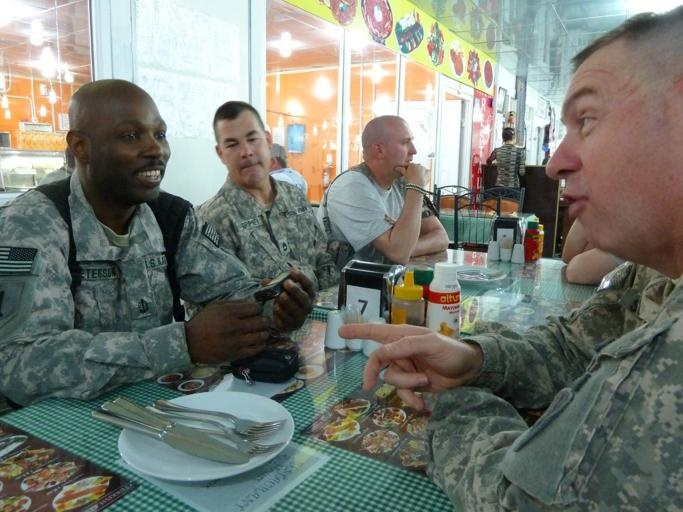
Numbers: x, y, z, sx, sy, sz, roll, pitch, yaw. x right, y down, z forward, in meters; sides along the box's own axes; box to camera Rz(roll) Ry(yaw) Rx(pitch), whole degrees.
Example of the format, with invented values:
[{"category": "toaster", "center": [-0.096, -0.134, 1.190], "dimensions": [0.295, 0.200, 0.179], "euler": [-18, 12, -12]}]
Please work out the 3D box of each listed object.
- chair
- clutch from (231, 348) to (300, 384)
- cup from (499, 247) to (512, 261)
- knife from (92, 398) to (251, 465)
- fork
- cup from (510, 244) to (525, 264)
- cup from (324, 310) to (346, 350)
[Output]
[{"category": "chair", "center": [1.211, -0.358, 4.331], "dimensions": [0.844, 0.584, 0.840], "euler": [6, 13, 28]}, {"category": "clutch", "center": [-0.173, 0.248, 1.131], "dimensions": [0.110, 0.036, 0.081], "euler": [1, 6, 16]}, {"category": "cup", "center": [0.867, -0.008, 2.570], "dimensions": [0.063, 0.063, 0.064], "euler": [1, 4, 0]}, {"category": "knife", "center": [-0.314, 0.316, 0.871], "dimensions": [0.185, 0.018, 0.043], "euler": [15, 18, 19]}, {"category": "fork", "center": [-0.270, 0.303, 0.921], "dimensions": [0.335, 0.042, 0.087], "euler": [6, 18, 20]}, {"category": "cup", "center": [0.918, -0.015, 2.536], "dimensions": [0.094, 0.113, 0.093], "euler": [-1, 9, 0]}, {"category": "cup", "center": [-0.018, 0.196, 1.324], "dimensions": [0.072, 0.093, 0.069], "euler": [5, 10, -1]}]
